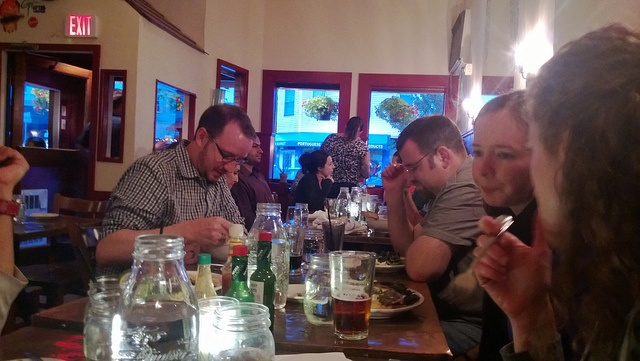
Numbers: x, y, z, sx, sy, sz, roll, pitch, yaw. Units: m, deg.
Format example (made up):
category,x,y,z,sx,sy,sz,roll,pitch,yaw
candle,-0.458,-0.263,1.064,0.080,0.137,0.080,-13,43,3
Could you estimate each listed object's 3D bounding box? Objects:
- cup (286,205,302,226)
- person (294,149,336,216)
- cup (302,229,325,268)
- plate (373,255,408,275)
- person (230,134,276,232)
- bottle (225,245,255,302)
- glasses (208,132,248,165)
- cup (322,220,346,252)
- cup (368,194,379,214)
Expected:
category,x,y,z,sx,sy,sz,roll,pitch,yaw
cup,-0.187,0.231,3.063,0.148,0.118,0.134,1,-6,3
person,-0.013,-0.016,4.819,0.503,0.671,0.448,-1,0,-27
cup,-0.026,0.381,2.502,0.154,0.181,0.197,4,-4,-25
plate,0.365,0.448,2.356,0.167,0.031,0.152,-1,1,0
person,-0.663,-0.027,4.205,0.312,0.374,1.049,14,-34,1
bottle,-0.281,0.321,1.576,0.093,0.196,0.190,-1,0,-10
glasses,-0.571,-0.200,2.784,0.045,0.153,0.161,-47,-23,17
cup,0.075,0.303,2.516,0.122,0.176,0.246,-1,0,0
cup,0.519,0.227,4.454,0.133,0.181,0.197,0,-4,1
